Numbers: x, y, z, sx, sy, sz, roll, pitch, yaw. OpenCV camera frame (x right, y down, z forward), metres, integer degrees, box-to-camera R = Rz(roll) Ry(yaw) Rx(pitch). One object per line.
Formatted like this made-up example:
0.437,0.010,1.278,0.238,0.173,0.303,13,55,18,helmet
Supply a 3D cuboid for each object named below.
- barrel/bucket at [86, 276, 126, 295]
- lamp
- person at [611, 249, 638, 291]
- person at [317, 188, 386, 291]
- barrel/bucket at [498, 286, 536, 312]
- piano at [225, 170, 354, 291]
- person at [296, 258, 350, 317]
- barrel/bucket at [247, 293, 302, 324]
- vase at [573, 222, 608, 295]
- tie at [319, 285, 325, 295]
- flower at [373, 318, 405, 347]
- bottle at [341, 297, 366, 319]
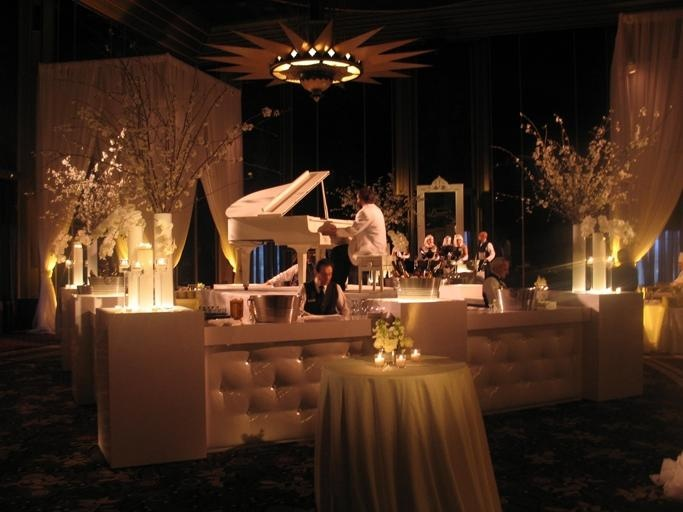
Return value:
-2.518,0.325,6.112,0.332,0.186,0.391,-2,3,-28,barrel/bucket
-0.354,-2.581,8.314,1.333,0.665,1.455,-1,5,-8,lamp
3.823,0.175,7.644,0.275,0.551,1.577,1,4,27,person
0.217,-0.204,8.001,0.774,1.498,0.784,4,3,29,person
1.688,0.415,5.491,0.254,0.199,0.218,-2,-5,12,barrel/bucket
-0.661,-0.336,8.692,1.791,2.151,1.446,-2,-1,32,piano
-0.203,0.353,5.561,0.537,0.909,0.451,0,-4,-13,person
-0.545,0.450,4.630,0.268,0.148,0.249,-2,-8,0,barrel/bucket
2.596,-0.007,5.940,0.346,0.750,0.293,1,4,27,vase
-0.184,0.312,5.436,0.057,0.051,0.018,-12,2,-6,tie
0.303,0.490,3.567,0.181,0.199,0.220,0,3,14,flower
0.137,0.468,4.937,0.137,0.216,0.077,4,3,3,bottle
